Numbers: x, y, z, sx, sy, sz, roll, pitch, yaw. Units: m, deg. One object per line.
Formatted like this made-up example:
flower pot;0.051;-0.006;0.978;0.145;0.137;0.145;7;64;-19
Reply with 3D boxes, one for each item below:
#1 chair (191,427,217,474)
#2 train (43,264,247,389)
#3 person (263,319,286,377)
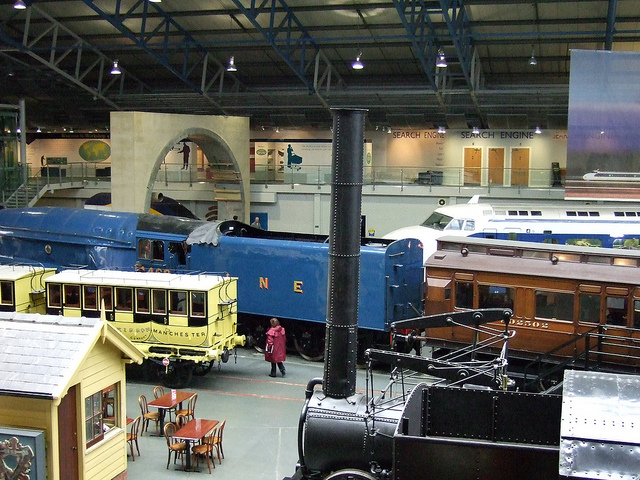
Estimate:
chair;-3.028;5.568;22.212;0.629;1.076;0.752;-1;-1;-8
train;-5.619;2.919;26.989;6.311;3.445;2.317;2;3;20
person;-1.380;3.509;27.308;0.652;1.934;0.916;-1;-1;-4
